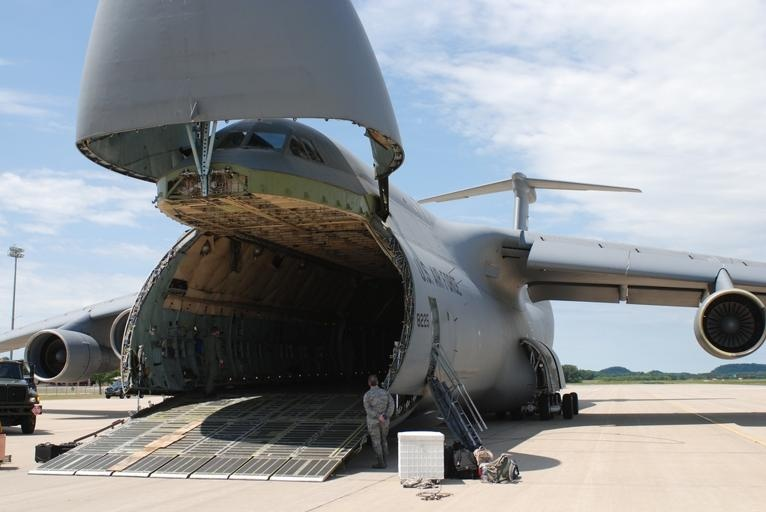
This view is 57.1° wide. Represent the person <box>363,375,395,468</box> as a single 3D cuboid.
[{"bbox_3d":[-0.067,2.998,12.918,0.514,1.636,1.009,-2,-6,-1],"label":"person"}]

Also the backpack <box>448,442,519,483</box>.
[{"bbox_3d":[1.734,3.516,12.015,0.891,0.284,0.666,-2,-7,38],"label":"backpack"}]
